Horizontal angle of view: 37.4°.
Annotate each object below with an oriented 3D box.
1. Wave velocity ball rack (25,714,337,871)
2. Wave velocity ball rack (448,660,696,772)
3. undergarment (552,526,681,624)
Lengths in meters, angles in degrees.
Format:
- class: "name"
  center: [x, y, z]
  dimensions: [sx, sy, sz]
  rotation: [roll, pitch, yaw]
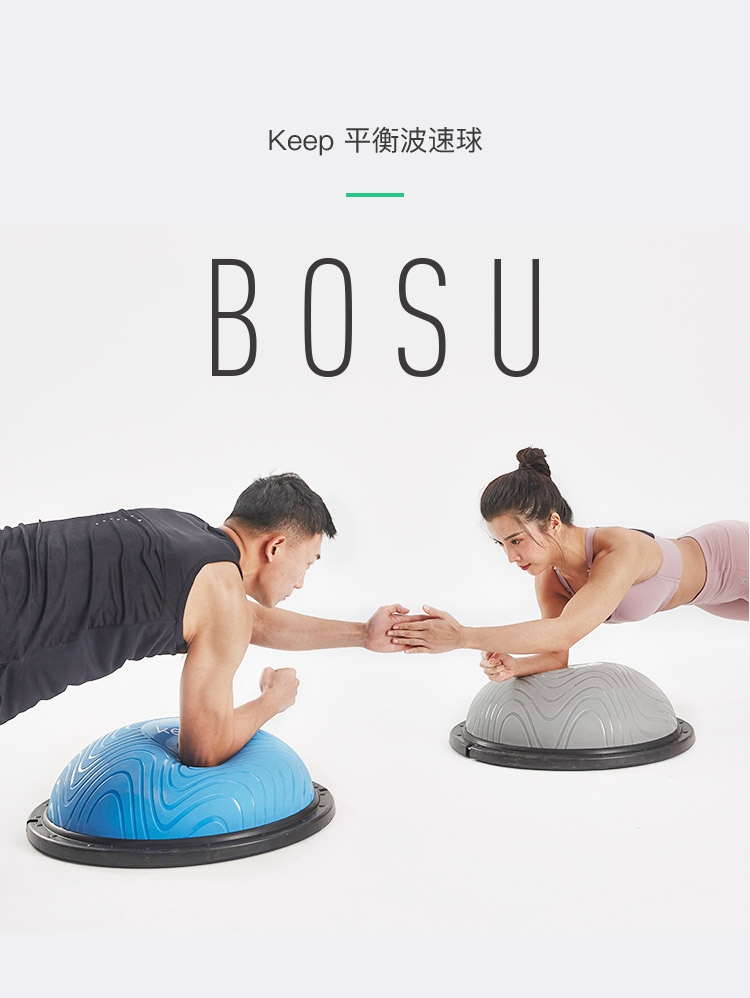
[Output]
- class: "Wave velocity ball rack"
  center: [-0.492, 0.731, 2.909]
  dimensions: [0.763, 0.220, 0.758]
  rotation: [1, 2, 22]
- class: "Wave velocity ball rack"
  center: [0.694, 0.687, 3.731]
  dimensions: [0.854, 0.235, 0.804]
  rotation: [3, 1, -6]
- class: "undergarment"
  center: [0.829, 0.262, 3.815]
  dimensions: [0.324, 0.227, 0.348]
  rotation: [13, -41, 12]
